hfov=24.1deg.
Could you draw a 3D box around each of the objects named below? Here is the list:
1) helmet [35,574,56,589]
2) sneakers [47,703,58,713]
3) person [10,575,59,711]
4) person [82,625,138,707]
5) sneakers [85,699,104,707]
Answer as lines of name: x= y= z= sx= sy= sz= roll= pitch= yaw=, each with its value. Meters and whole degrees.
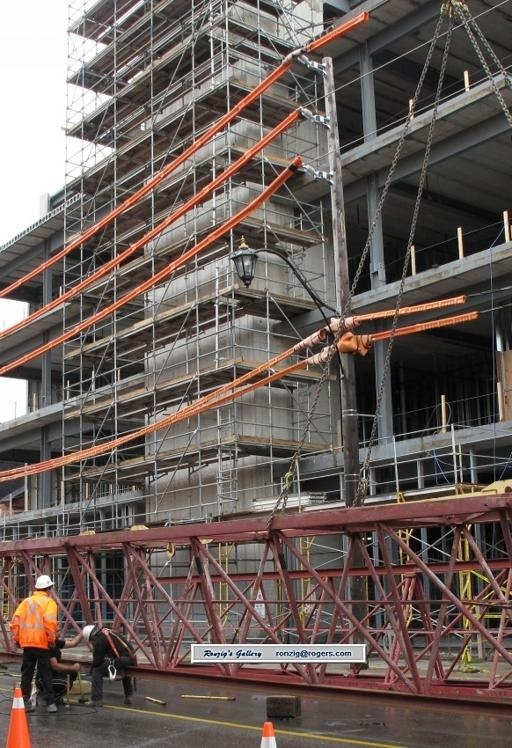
helmet: x=-3.094 y=3.033 z=17.529 sx=0.275 sy=0.139 sz=0.322 roll=-3 pitch=-7 yaw=-16
sneakers: x=-2.838 y=4.640 z=16.707 sx=0.085 sy=0.083 sz=0.131 roll=4 pitch=2 yaw=1
person: x=-3.126 y=3.808 z=17.034 sx=0.708 sy=1.720 sz=0.468 roll=6 pitch=-24 yaw=-35
person: x=-2.139 y=4.235 z=17.595 sx=0.749 sy=1.144 sz=1.259 roll=-3 pitch=-14 yaw=-8
sneakers: x=-2.328 y=4.721 z=17.276 sx=0.109 sy=0.187 sz=0.292 roll=13 pitch=-14 yaw=-39
